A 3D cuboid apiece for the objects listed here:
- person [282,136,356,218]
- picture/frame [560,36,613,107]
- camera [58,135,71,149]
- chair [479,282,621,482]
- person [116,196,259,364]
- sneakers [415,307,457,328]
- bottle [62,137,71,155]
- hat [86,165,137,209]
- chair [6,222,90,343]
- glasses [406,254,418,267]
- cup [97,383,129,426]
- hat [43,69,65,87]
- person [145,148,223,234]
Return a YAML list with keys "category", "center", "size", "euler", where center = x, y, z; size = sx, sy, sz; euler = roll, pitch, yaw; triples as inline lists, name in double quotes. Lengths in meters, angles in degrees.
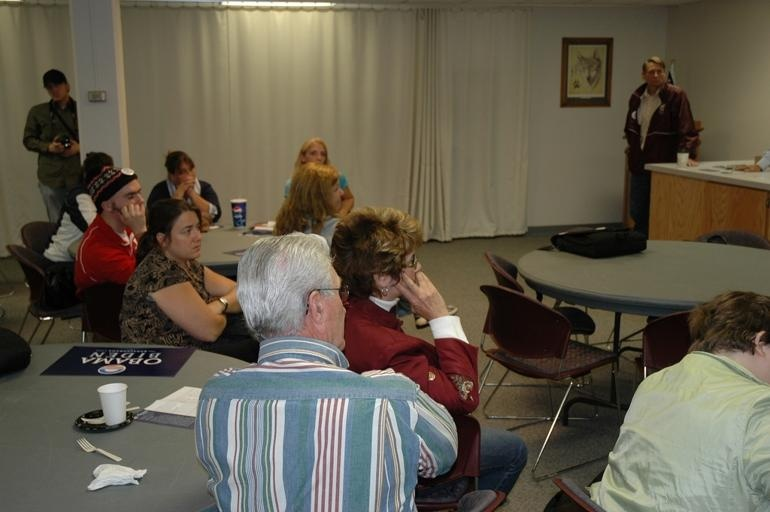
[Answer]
- category: "person"
  center: [-0.606, -0.711, 5.574]
  size: [0.586, 0.798, 0.531]
  euler: [-6, 13, -9]
- category: "picture/frame"
  center: [2.787, -2.603, 8.115]
  size: [0.825, 1.132, 0.089]
  euler: [0, 8, -3]
- category: "camera"
  center: [-3.455, -1.249, 6.390]
  size: [0.135, 0.135, 0.042]
  euler: [50, 7, 20]
- category: "chair"
  center: [0.916, 0.649, 3.513]
  size: [0.646, 1.044, 0.607]
  euler: [-13, 17, -42]
- category: "person"
  center: [-1.006, 0.158, 3.154]
  size: [0.750, 0.878, 0.525]
  euler: [3, 13, -12]
- category: "sneakers"
  center: [0.209, 0.243, 2.334]
  size: [0.165, 0.072, 0.055]
  euler: [-29, 16, -22]
- category: "bottle"
  center: [-3.431, -1.192, 6.344]
  size: [0.108, 0.121, 0.035]
  euler: [4, 3, 4]
- category: "hat"
  center: [-1.753, -0.513, 3.795]
  size: [0.283, 0.167, 0.241]
  euler: [-20, 12, -36]
- category: "chair"
  center: [-2.627, 0.273, 4.514]
  size: [0.416, 0.980, 1.497]
  euler: [-9, 16, -31]
- category: "glasses"
  center: [0.104, 0.018, 2.294]
  size: [0.040, 0.046, 0.014]
  euler: [-9, 6, -23]
- category: "cup"
  center: [-0.960, 0.519, 2.098]
  size: [0.119, 0.146, 0.131]
  euler: [0, 2, 4]
- category: "hat"
  center: [-3.535, -1.892, 6.329]
  size: [0.171, 0.141, 0.254]
  euler: [-4, -5, 3]
- category: "person"
  center: [-1.779, -0.556, 5.235]
  size: [0.553, 0.751, 0.672]
  euler: [-10, 14, -42]
